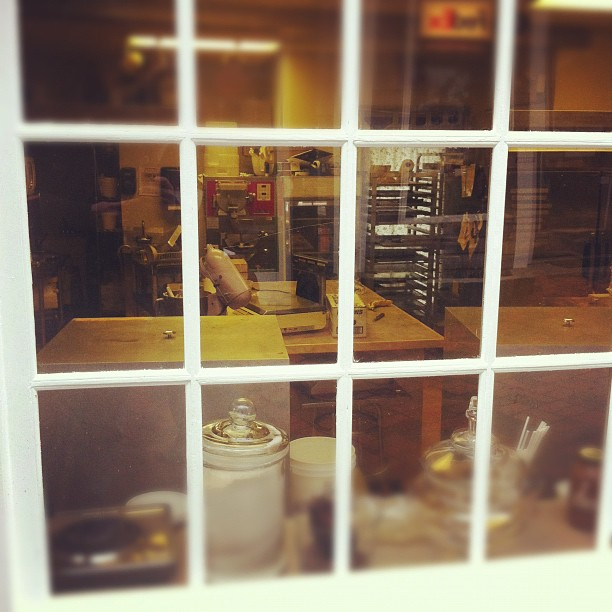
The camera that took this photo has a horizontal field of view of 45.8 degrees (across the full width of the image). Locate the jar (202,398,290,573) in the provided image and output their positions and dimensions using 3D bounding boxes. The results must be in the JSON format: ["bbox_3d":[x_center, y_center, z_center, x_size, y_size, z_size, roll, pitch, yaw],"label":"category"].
[{"bbox_3d":[-0.138,0.392,1.606,0.244,0.332,0.220,-4,25,-17],"label":"jar"}]

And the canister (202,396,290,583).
[{"bbox_3d":[-0.168,0.418,1.665,0.270,0.324,0.221,4,2,5],"label":"canister"}]
